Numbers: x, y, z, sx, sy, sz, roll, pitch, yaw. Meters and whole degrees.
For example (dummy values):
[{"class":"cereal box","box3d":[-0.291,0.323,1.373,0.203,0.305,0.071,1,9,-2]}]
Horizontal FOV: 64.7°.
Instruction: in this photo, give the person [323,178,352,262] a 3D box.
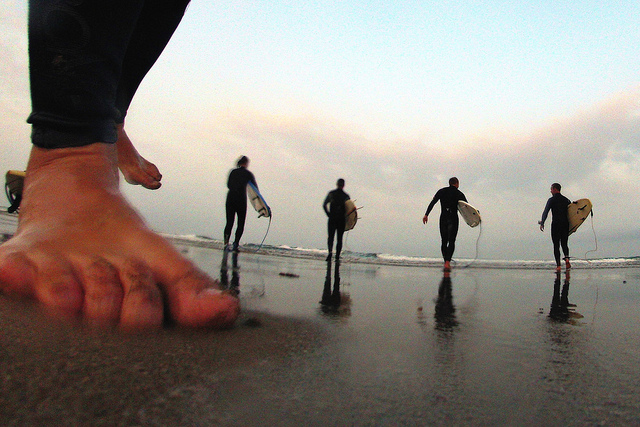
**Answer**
[{"class":"person","box3d":[0.343,0.110,11.704,0.601,1.846,1.086,3,1,0]}]

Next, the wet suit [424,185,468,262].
[{"class":"wet suit","box3d":[2.672,0.141,10.805,0.730,1.649,1.320,3,1,15]}]

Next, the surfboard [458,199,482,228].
[{"class":"surfboard","box3d":[3.465,0.083,11.910,0.564,0.162,1.119,16,29,-6]}]

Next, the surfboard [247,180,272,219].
[{"class":"surfboard","box3d":[-1.395,-0.281,10.914,0.295,0.202,1.080,-15,-38,7]}]

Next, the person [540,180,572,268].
[{"class":"person","box3d":[4.979,0.219,10.689,0.563,1.921,1.180,3,1,22]}]

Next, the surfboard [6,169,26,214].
[{"class":"surfboard","box3d":[-1.768,-0.125,2.928,0.097,0.233,1.167,3,1,-32]}]

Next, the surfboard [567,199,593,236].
[{"class":"surfboard","box3d":[5.386,0.071,10.685,0.940,0.196,0.494,-38,9,-34]}]

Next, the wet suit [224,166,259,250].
[{"class":"wet suit","box3d":[-1.735,-0.181,10.545,0.674,1.535,0.384,2,1,-37]}]

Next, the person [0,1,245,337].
[{"class":"person","box3d":[-0.809,-0.235,2.036,0.826,1.156,0.462,3,1,-13]}]
